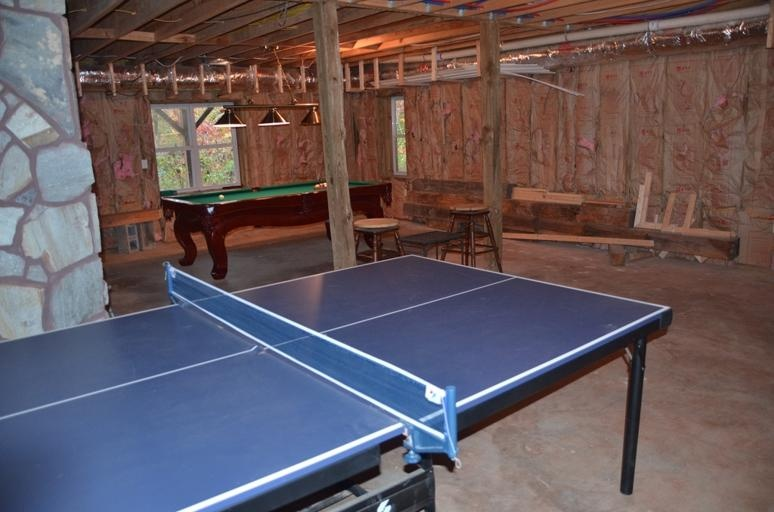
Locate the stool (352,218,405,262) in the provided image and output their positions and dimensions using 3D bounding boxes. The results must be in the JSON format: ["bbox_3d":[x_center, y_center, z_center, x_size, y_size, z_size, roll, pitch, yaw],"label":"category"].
[{"bbox_3d":[-0.110,-0.172,6.516,0.590,0.528,0.535,-8,6,-17],"label":"stool"}]

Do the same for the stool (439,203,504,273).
[{"bbox_3d":[1.019,-0.131,6.674,0.748,0.868,0.719,1,11,35],"label":"stool"}]

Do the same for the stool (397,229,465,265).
[{"bbox_3d":[0.451,-0.171,6.440,0.826,0.365,0.492,-13,16,-42],"label":"stool"}]
